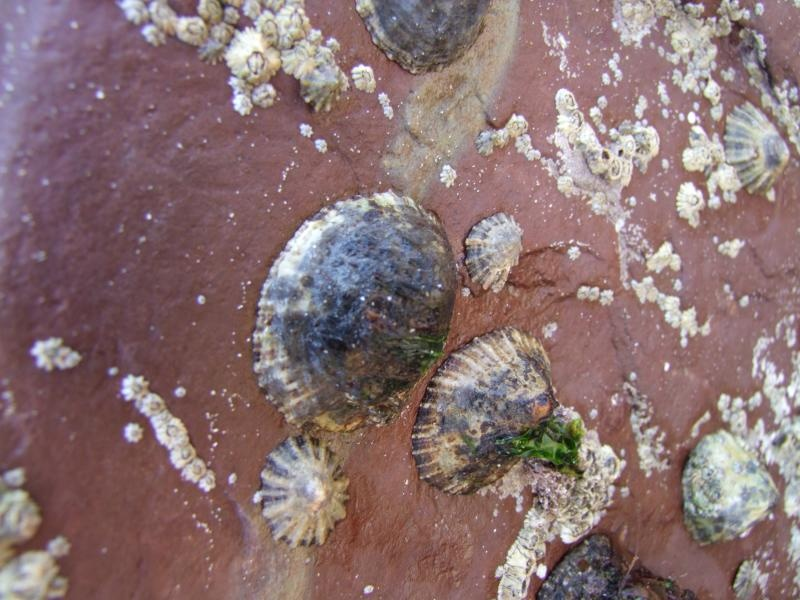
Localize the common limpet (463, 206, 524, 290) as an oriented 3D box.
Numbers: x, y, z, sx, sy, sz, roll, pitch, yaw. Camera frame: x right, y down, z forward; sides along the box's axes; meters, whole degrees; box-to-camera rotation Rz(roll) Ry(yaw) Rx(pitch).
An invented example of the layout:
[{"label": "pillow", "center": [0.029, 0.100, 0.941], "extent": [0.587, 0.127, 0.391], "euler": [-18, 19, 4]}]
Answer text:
[{"label": "common limpet", "center": [0.645, -0.351, 6.177], "extent": [0.421, 0.210, 0.549], "euler": [41, 85, 6]}]
